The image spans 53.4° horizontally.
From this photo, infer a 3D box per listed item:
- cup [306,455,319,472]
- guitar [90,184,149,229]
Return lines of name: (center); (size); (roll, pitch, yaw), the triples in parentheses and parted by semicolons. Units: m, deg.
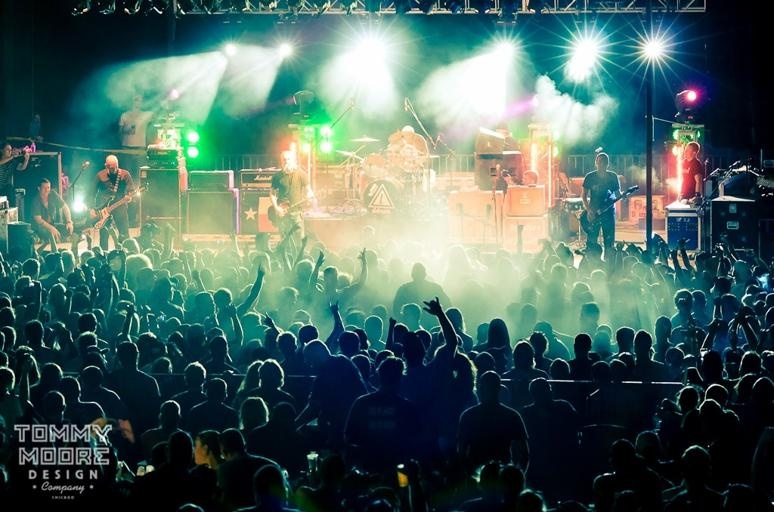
cup: (-0.790, 2.235, 8.347); (0.124, 0.180, 0.211); (0, -2, -6)
guitar: (-6.717, -1.248, 19.246); (1.248, 0.442, 0.148); (-45, 7, -22)
